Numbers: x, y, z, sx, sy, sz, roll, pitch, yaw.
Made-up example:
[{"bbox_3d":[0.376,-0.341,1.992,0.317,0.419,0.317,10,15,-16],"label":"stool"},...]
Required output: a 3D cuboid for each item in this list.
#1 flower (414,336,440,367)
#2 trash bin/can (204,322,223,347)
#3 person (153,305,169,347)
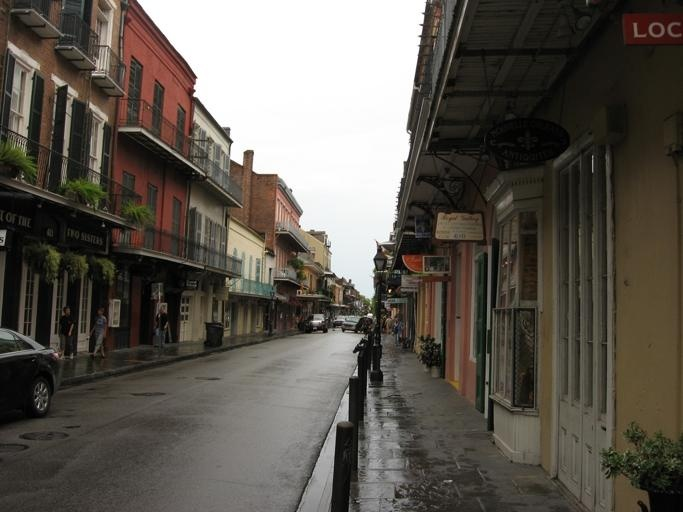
[{"bbox_3d":[2.699,2.968,18.251,0.661,0.992,0.808,0,0,23],"label":"flower"},{"bbox_3d":[-6.156,3.813,28.630,0.917,1.477,0.999,1,-6,4],"label":"trash bin/can"},{"bbox_3d":[-7.817,3.025,25.734,0.468,1.818,0.787,3,-9,-15],"label":"person"}]
